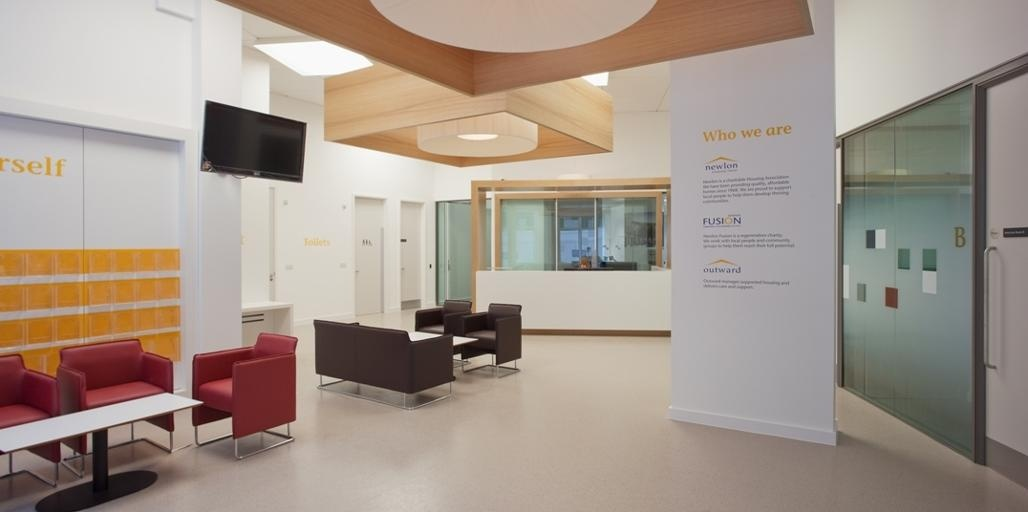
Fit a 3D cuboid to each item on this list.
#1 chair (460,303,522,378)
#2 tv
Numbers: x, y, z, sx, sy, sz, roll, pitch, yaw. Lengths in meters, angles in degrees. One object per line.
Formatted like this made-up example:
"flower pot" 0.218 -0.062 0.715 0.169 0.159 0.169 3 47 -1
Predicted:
"chair" -0.456 1.816 13.091 1.169 1.386 1.122 0 2 31
"tv" -5.179 -2.260 11.974 1.857 1.388 0.261 -2 2 -40
